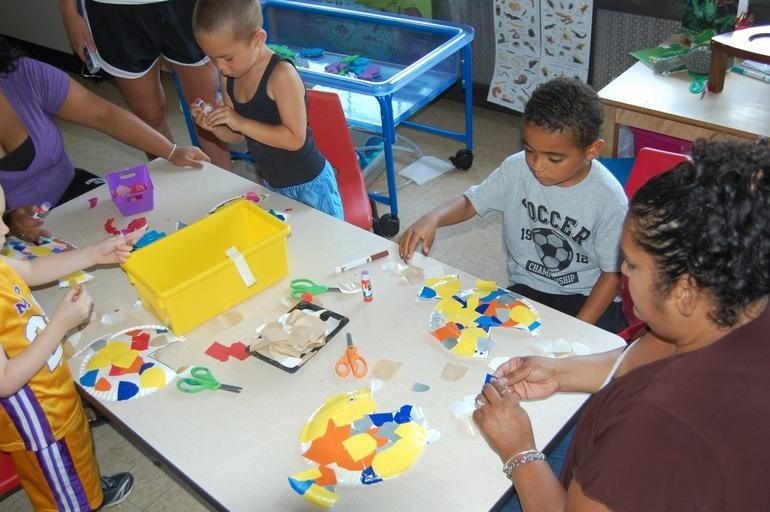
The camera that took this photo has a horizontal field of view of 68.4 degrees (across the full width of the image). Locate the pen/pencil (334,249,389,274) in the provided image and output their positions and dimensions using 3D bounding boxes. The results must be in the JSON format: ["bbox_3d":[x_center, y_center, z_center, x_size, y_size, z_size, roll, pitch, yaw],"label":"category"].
[{"bbox_3d":[-0.069,0.020,1.797,0.148,0.024,0.021,-21,81,-14],"label":"pen/pencil"}]

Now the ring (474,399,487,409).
[{"bbox_3d":[0.241,0.369,1.413,0.007,0.025,0.023,18,66,-34],"label":"ring"}]

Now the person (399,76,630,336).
[{"bbox_3d":[0.449,-0.093,2.024,0.788,0.983,0.606,15,43,30],"label":"person"}]

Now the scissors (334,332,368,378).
[{"bbox_3d":[-0.093,0.271,1.557,0.091,0.027,0.159,1,37,-8],"label":"scissors"}]

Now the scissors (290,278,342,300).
[{"bbox_3d":[-0.221,0.091,1.733,0.130,0.023,0.067,-8,27,-22],"label":"scissors"}]

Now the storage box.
[{"bbox_3d":[-0.521,0.030,1.748,0.309,0.183,0.454,22,43,37],"label":"storage box"}]

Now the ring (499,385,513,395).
[{"bbox_3d":[0.302,0.334,1.406,0.021,0.008,0.021,7,22,-3],"label":"ring"}]
